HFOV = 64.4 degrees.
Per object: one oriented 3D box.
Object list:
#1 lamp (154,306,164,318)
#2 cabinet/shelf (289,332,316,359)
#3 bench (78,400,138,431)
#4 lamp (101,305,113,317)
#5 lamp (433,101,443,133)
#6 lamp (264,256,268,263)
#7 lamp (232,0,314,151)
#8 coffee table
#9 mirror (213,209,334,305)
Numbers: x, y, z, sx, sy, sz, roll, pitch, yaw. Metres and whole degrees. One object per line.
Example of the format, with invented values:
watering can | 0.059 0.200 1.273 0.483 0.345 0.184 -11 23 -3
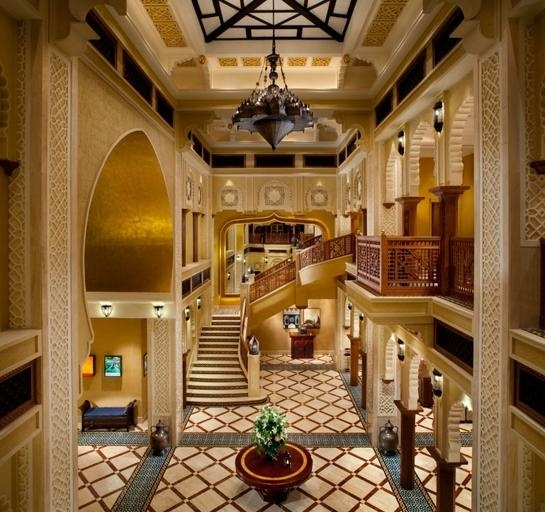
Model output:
lamp | -2.403 1.191 9.300 0.196 0.308 0.231 1 -1 11
cabinet/shelf | 1.094 3.342 16.564 1.064 1.247 0.766 1 2 2
bench | -3.993 3.933 10.598 0.911 0.581 0.795 2 -3 -3
lamp | -3.509 1.168 9.277 0.202 0.282 0.224 1 8 -5
lamp | 2.355 -1.972 6.199 0.150 0.443 0.145 -3 4 -38
lamp | -0.386 0.266 27.152 0.252 0.565 0.278 1 -4 -1
lamp | -0.003 -2.930 7.687 1.324 2.278 2.968 0 4 -1
coffee table | 0.015 3.768 7.781 1.347 0.452 1.322 0 4 7
mirror | 0.025 0.154 15.699 4.311 3.518 2.493 0 4 4
